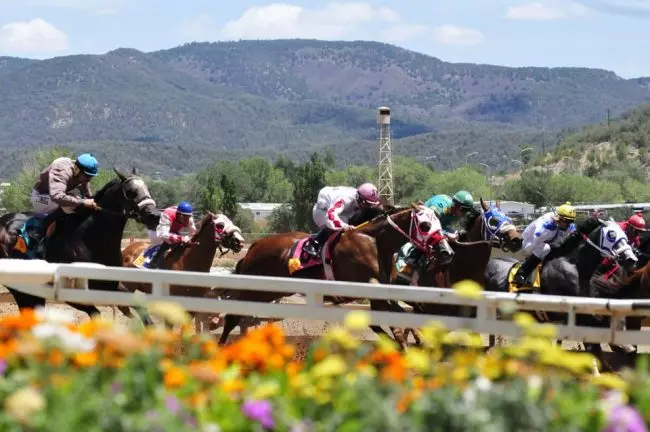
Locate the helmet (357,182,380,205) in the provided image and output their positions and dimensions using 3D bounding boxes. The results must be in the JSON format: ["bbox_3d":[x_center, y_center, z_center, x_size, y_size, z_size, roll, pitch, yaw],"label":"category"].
[{"bbox_3d":[0.542,-0.268,9.551,0.215,0.302,0.156,-29,-8,-30],"label":"helmet"}]

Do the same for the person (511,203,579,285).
[{"bbox_3d":[3.617,0.444,12.439,1.441,0.794,1.573,-10,21,28],"label":"person"}]

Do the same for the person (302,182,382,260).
[{"bbox_3d":[0.234,0.048,9.798,1.097,0.949,0.758,7,3,41],"label":"person"}]

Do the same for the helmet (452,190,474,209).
[{"bbox_3d":[1.897,-0.247,10.524,0.217,0.169,0.314,10,16,-22],"label":"helmet"}]

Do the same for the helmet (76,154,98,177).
[{"bbox_3d":[-2.918,-0.656,9.120,0.303,0.200,0.229,40,20,31],"label":"helmet"}]

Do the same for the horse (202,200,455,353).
[{"bbox_3d":[0.040,0.787,9.397,2.935,1.811,0.682,-1,-8,22],"label":"horse"}]

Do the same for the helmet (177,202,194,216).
[{"bbox_3d":[-2.066,-0.094,10.876,0.196,0.102,0.277,-2,34,-34],"label":"helmet"}]

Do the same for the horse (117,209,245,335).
[{"bbox_3d":[-2.150,0.692,10.517,2.307,1.517,0.543,-2,0,31],"label":"horse"}]

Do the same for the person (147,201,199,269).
[{"bbox_3d":[-2.014,0.266,10.931,0.524,1.014,1.207,19,-11,-29],"label":"person"}]

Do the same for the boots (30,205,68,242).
[{"bbox_3d":[-3.285,0.089,8.993,0.155,0.436,0.300,36,-1,-41],"label":"boots"}]

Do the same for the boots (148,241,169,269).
[{"bbox_3d":[-2.363,0.572,10.742,0.078,0.344,0.170,41,-11,-37],"label":"boots"}]

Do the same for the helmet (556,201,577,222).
[{"bbox_3d":[3.245,-0.074,10.298,0.330,0.223,0.249,20,9,24],"label":"helmet"}]
